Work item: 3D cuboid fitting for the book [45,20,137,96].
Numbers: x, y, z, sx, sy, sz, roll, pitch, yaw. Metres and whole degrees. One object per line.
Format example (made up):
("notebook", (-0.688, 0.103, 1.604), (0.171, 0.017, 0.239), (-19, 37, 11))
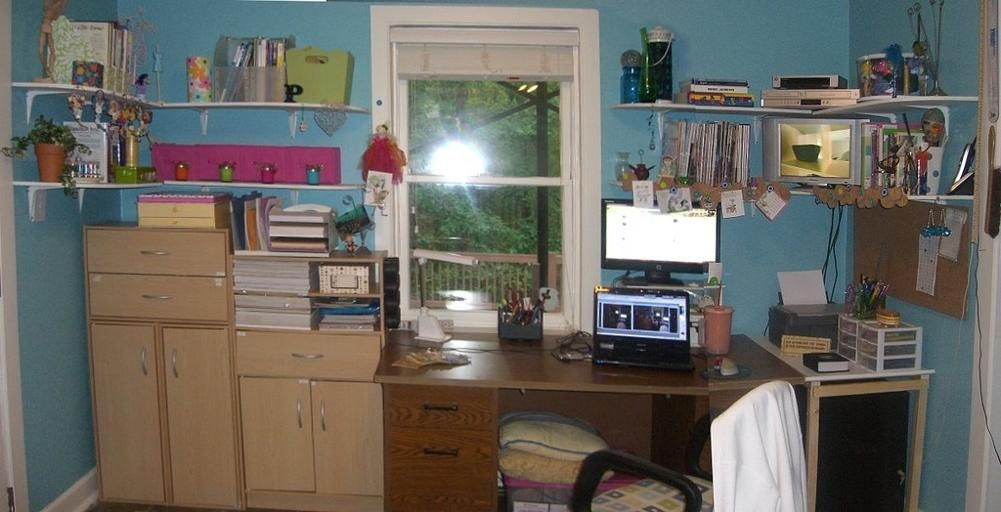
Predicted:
("book", (-2.983, -1.521, 6.576), (0.775, 0.611, 0.511), (0, -2, -10))

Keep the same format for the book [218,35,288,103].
("book", (-1.905, -1.428, 6.654), (0.651, 0.501, 0.302), (0, -1, -1))

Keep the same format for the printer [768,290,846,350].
("printer", (2.399, 0.547, 6.711), (0.559, 0.235, 0.375), (-2, 9, -13))

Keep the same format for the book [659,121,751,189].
("book", (1.598, -0.778, 6.684), (0.607, 0.455, 0.215), (3, 6, 0))

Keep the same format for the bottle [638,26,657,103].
("bottle", (1.117, -1.467, 6.622), (0.120, 0.567, 0.082), (5, 7, 39))

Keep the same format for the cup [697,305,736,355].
("cup", (1.750, 0.549, 6.632), (0.349, 0.375, 0.431), (0, 3, 15))

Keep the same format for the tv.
("tv", (1.262, -0.139, 6.737), (0.837, 0.481, 0.207), (1, -1, 3))

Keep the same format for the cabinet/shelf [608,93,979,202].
("cabinet/shelf", (2.271, -0.889, 6.584), (2.401, 0.593, 0.555), (2, 5, 14))
